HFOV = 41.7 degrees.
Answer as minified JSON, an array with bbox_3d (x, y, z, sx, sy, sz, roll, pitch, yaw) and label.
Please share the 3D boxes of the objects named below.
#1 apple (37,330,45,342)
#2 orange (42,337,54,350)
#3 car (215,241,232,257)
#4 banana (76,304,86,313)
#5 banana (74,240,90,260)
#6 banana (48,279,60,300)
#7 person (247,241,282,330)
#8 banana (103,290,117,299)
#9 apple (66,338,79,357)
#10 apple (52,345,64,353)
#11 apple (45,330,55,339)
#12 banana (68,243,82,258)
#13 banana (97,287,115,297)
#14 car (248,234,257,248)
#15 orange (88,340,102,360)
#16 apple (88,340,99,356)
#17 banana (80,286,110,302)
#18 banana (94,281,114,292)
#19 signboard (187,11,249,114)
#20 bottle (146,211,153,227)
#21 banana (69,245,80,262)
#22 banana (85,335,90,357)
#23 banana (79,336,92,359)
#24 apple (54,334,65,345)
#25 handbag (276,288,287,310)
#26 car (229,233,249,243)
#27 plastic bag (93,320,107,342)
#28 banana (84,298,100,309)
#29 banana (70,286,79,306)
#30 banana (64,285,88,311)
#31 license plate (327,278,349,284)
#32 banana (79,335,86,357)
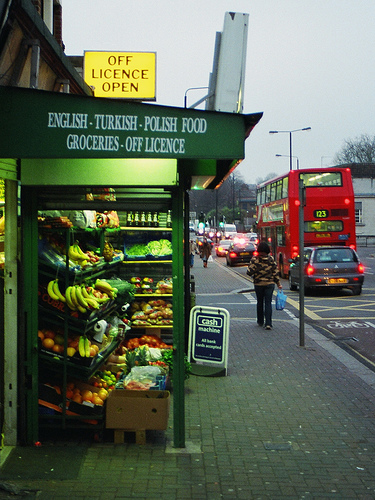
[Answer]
[{"bbox_3d":[-1.255,0.740,4.286,0.060,0.076,0.062,-6,-17,-9],"label":"apple"},{"bbox_3d":[-1.204,0.810,4.274,0.076,0.079,0.080,-5,4,28],"label":"orange"},{"bbox_3d":[3.426,-0.150,46.041,1.206,0.955,2.822,0,9,1],"label":"car"},{"bbox_3d":[-0.913,0.511,4.280,0.031,0.045,0.111,-16,-58,44],"label":"banana"},{"bbox_3d":[-1.148,-0.001,5.377,0.059,0.126,0.194,25,23,-50],"label":"banana"},{"bbox_3d":[-1.137,0.346,4.243,0.116,0.169,0.073,1,-2,4],"label":"banana"},{"bbox_3d":[1.668,0.785,10.662,0.703,1.946,1.104,1,-2,11],"label":"person"},{"bbox_3d":[-0.861,0.502,5.634,0.109,0.032,0.066,29,3,5],"label":"banana"},{"bbox_3d":[-1.005,0.884,4.386,0.091,0.116,0.095,1,3,0],"label":"apple"},{"bbox_3d":[-1.123,0.864,4.302,0.062,0.062,0.065,1,-3,25],"label":"apple"},{"bbox_3d":[-1.218,0.749,4.383,0.063,0.066,0.065,2,3,3],"label":"apple"},{"bbox_3d":[-1.070,0.009,4.728,0.117,0.057,0.183,-28,10,-2],"label":"banana"},{"bbox_3d":[-0.910,0.466,5.491,0.192,0.054,0.038,26,8,-7],"label":"banana"},{"bbox_3d":[7.127,-1.050,53.569,1.231,1.004,2.144,-1,-4,-1],"label":"car"},{"bbox_3d":[-0.850,0.915,4.545,0.113,0.123,0.122,2,-33,-5],"label":"orange"},{"bbox_3d":[-0.848,0.902,4.538,0.095,0.097,0.094,22,-4,-43],"label":"apple"},{"bbox_3d":[-0.871,0.426,4.660,0.063,0.130,0.320,0,-13,38],"label":"banana"},{"bbox_3d":[-0.916,0.393,5.479,0.166,0.047,0.096,20,-38,16],"label":"banana"},{"bbox_3d":[0.322,-1.914,5.095,0.628,0.958,0.515,7,11,11],"label":"signboard"},{"bbox_3d":[-0.598,-0.495,7.903,0.108,0.233,0.090,1,-2,0],"label":"bottle"},{"bbox_3d":[-1.097,0.028,4.752,0.056,0.111,0.177,29,-18,19],"label":"banana"},{"bbox_3d":[-0.892,0.862,4.390,0.029,0.162,0.039,-16,-21,23],"label":"banana"},{"bbox_3d":[-0.909,0.862,4.388,0.087,0.047,0.184,5,36,-21],"label":"banana"},{"bbox_3d":[-1.128,0.799,4.414,0.078,0.099,0.081,6,6,4],"label":"apple"},{"bbox_3d":[1.996,1.048,10.501,0.183,0.444,0.404,1,-1,11],"label":"handbag"},{"bbox_3d":[4.877,-1.304,45.776,1.198,0.899,2.528,-2,-2,0],"label":"car"},{"bbox_3d":[-0.855,0.800,4.869,0.101,0.197,0.246,1,-1,1],"label":"plastic bag"},{"bbox_3d":[-0.862,0.468,4.435,0.160,0.044,0.057,35,37,17],"label":"banana"},{"bbox_3d":[-0.957,0.397,4.211,0.051,0.167,0.128,1,-1,0],"label":"banana"},{"bbox_3d":[-0.940,0.447,4.180,0.118,0.266,0.087,-29,-28,9],"label":"banana"},{"bbox_3d":[5.155,1.055,16.863,0.750,0.200,0.149,2,-2,-16],"label":"license plate"},{"bbox_3d":[-0.925,0.849,4.367,0.039,0.181,0.059,-31,-38,34],"label":"banana"}]
